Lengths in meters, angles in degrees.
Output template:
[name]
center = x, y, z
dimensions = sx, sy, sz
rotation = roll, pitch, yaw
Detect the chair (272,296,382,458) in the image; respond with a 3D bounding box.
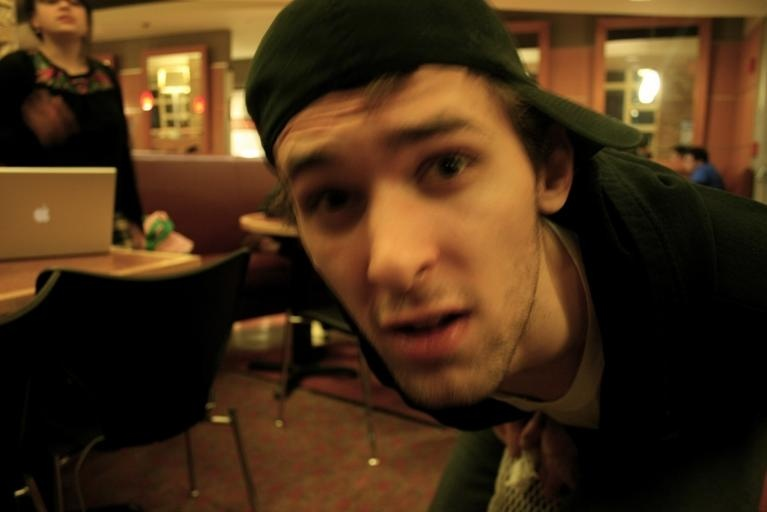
[chair]
center = -0.245, 0.670, 3.537
dimensions = 0.595, 0.893, 0.623
rotation = -6, -23, 5
